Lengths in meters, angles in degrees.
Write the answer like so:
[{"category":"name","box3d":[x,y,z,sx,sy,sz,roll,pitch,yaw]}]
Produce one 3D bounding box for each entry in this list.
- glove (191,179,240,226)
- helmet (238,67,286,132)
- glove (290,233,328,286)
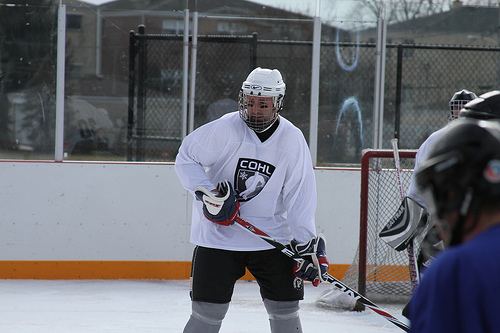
[{"category":"glove","box3d":[-0.282,0.252,8.280,0.363,0.400,0.359,-22,24,-34]},{"category":"helmet","box3d":[0.148,-0.636,8.411,0.385,0.578,0.545,11,24,18]},{"category":"glove","box3d":[0.556,0.849,8.202,0.301,0.420,0.195,-39,9,-19]}]
